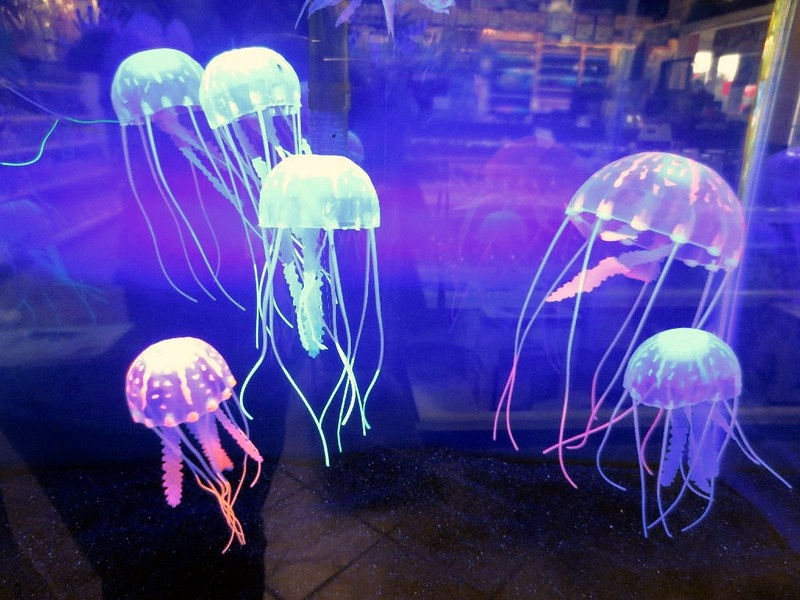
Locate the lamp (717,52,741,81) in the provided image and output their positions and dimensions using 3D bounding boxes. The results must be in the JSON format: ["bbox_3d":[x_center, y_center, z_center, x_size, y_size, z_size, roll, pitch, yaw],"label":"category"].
[{"bbox_3d":[1.272,-0.911,2.846,0.087,0.089,0.022,4,-3,-1],"label":"lamp"}]
